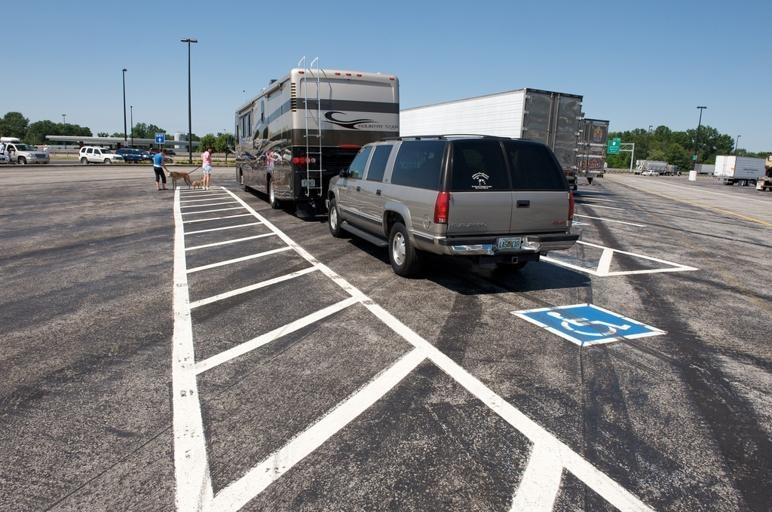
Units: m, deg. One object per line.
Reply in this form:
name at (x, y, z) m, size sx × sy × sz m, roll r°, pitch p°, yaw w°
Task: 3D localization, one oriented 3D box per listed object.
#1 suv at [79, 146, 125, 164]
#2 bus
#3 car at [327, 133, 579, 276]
suv at (-30.019, -10.700, 50.099) m, size 3.667 × 1.574 × 5.954 m, roll -8°, pitch 17°, yaw -31°
bus at (-3.013, -3.905, 15.844) m, size 3.576 × 3.315 × 7.169 m, roll -4°, pitch 15°, yaw -26°
car at (0.882, -0.932, 8.576) m, size 2.031 × 2.457 × 4.270 m, roll -11°, pitch 19°, yaw -41°
